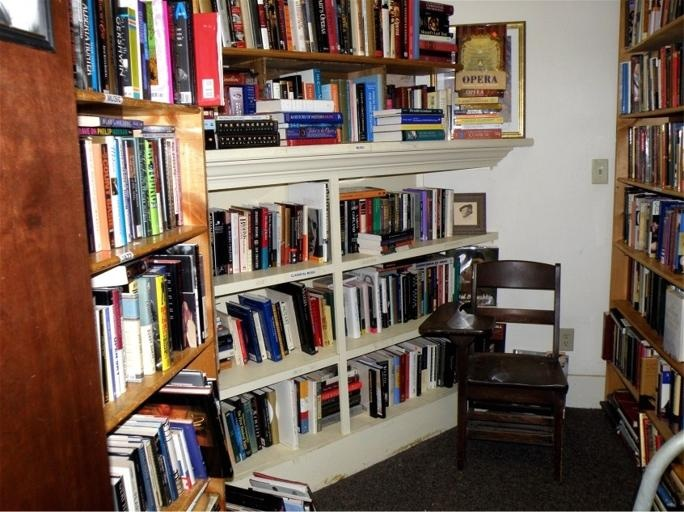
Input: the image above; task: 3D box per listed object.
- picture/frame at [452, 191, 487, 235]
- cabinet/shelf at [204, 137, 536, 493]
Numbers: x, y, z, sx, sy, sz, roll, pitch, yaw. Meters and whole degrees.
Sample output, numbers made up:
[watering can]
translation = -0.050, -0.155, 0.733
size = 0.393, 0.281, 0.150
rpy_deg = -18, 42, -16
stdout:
[picture/frame]
translation = 0.744, -0.244, 3.274
size = 0.270, 0.258, 0.026
rpy_deg = 0, 1, 1
[cabinet/shelf]
translation = 0.103, 0.330, 2.725
size = 1.678, 1.370, 0.473
rpy_deg = -12, 14, -42
